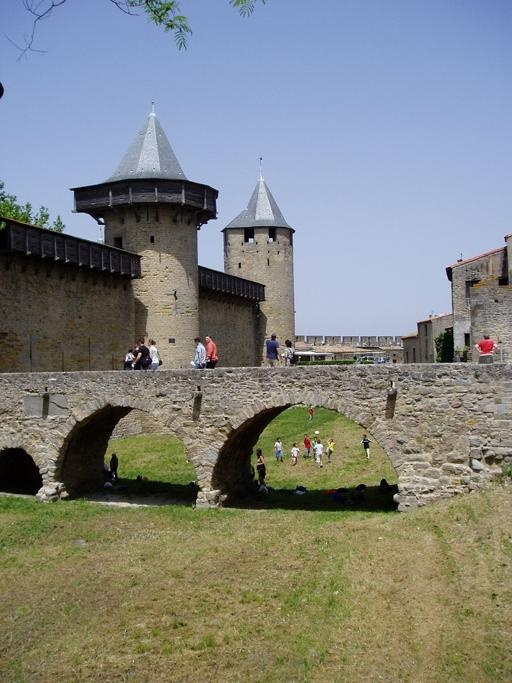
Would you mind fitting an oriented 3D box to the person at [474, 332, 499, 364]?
[{"bbox_3d":[5.748,0.190,17.551,0.364,0.786,1.806,-1,7,16],"label":"person"}]

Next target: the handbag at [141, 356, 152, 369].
[{"bbox_3d":[-3.366,0.646,21.718,0.254,0.333,0.339,3,14,-4],"label":"handbag"}]
